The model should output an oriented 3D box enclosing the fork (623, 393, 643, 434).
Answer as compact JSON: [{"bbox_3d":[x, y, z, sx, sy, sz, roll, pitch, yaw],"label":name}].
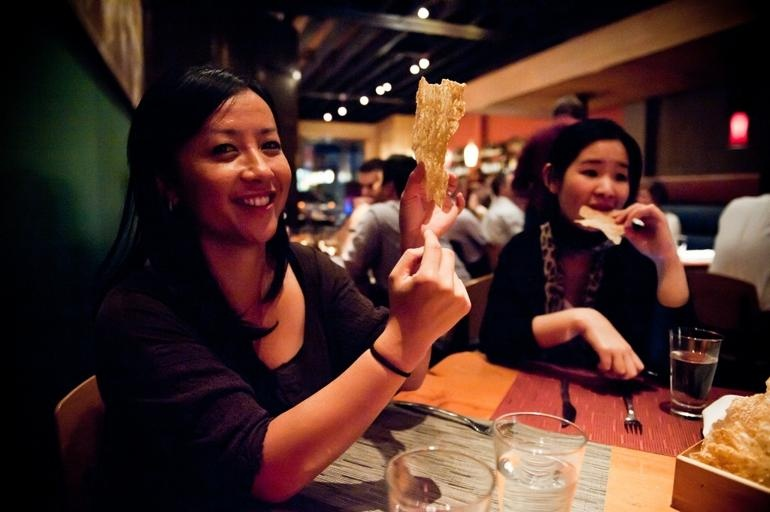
[{"bbox_3d":[0.778,0.487,1.845,0.049,0.028,0.203,5,10,16],"label":"fork"}]

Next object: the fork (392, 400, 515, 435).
[{"bbox_3d":[0.207,0.500,1.779,0.333,0.048,0.049,12,9,18],"label":"fork"}]

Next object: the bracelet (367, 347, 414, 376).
[{"bbox_3d":[0.011,0.295,1.608,0.112,0.086,0.032,1,11,-4],"label":"bracelet"}]

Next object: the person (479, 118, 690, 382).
[{"bbox_3d":[0.712,-0.034,2.082,0.711,0.887,0.298,7,13,27],"label":"person"}]

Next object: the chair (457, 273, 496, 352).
[{"bbox_3d":[0.469,0.219,2.691,0.234,0.254,0.247,2,10,16],"label":"chair"}]
